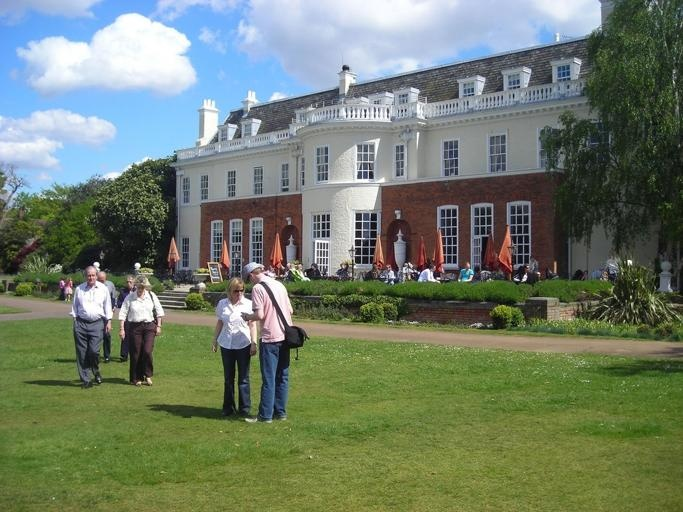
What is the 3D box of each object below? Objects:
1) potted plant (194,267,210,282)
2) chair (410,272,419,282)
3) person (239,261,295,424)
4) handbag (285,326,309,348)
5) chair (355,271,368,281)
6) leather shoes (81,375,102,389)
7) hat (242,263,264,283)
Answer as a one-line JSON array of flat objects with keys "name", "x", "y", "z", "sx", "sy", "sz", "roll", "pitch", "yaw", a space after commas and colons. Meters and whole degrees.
[{"name": "potted plant", "x": -6.498, "y": 0.885, "z": 49.229, "sx": 0.676, "sy": 0.788, "sz": 0.733, "roll": 4, "pitch": -5, "yaw": -28}, {"name": "chair", "x": 3.020, "y": 0.831, "z": 43.164, "sx": 0.289, "sy": 0.433, "sz": 0.293, "roll": 7, "pitch": -9, "yaw": -43}, {"name": "person", "x": -1.603, "y": 1.879, "z": 23.378, "sx": 1.002, "sy": 3.397, "sz": 0.845, "roll": -1, "pitch": 13, "yaw": -6}, {"name": "handbag", "x": -1.004, "y": 1.795, "z": 23.479, "sx": 0.458, "sy": 0.520, "sz": 0.421, "roll": -2, "pitch": 1, "yaw": -12}, {"name": "chair", "x": 0.793, "y": 0.853, "z": 44.902, "sx": 0.364, "sy": 0.254, "sz": 0.368, "roll": -4, "pitch": -6, "yaw": 43}, {"name": "leather shoes", "x": -6.053, "y": 3.018, "z": 25.704, "sx": 0.190, "sy": 0.262, "sz": 0.595, "roll": 3, "pitch": 6, "yaw": 16}, {"name": "hat", "x": -1.929, "y": 0.364, "z": 23.471, "sx": 0.407, "sy": 0.504, "sz": 0.612, "roll": -1, "pitch": 13, "yaw": -7}]
